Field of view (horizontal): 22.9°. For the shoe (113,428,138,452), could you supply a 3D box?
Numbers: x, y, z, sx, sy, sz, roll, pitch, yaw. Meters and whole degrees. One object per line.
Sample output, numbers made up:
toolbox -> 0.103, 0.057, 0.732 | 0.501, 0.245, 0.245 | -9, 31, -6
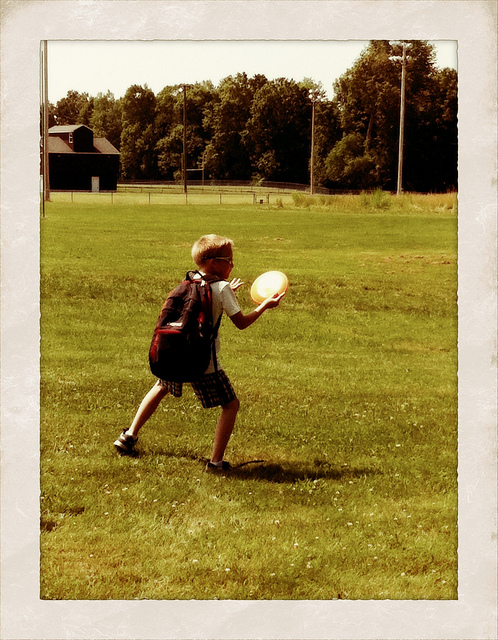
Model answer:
shoe -> -1.037, 0.975, 9.839 | 0.182, 0.210, 0.270 | 1, 15, -8

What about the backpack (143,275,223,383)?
backpack -> -0.499, 0.061, 9.096 | 0.410, 0.855, 0.439 | 10, -6, 28

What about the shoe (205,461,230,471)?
shoe -> -0.276, 1.141, 9.667 | 0.175, 0.097, 0.072 | -3, 7, -18

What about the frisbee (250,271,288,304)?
frisbee -> 0.127, -0.242, 9.614 | 0.261, 0.248, 0.623 | 2, 16, -3

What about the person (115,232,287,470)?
person -> -0.395, 0.168, 9.415 | 0.947, 1.842, 0.790 | 7, 15, 4
